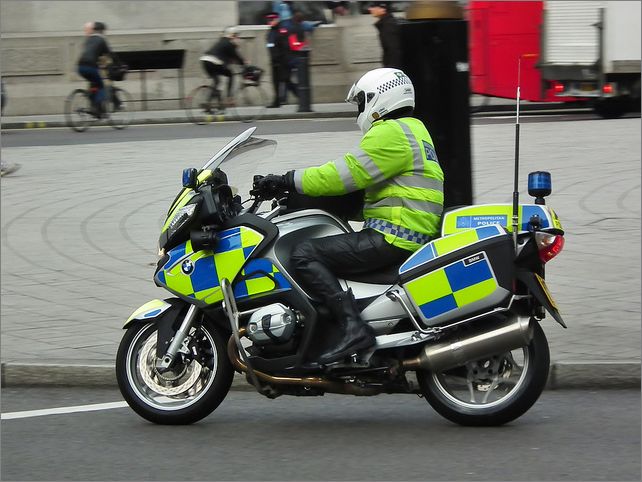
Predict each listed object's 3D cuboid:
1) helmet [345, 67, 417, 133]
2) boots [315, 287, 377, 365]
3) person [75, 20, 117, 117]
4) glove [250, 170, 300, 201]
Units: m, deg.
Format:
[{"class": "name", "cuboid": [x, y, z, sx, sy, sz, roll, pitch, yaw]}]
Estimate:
[{"class": "helmet", "cuboid": [0.416, -1.000, 5.314, 0.605, 0.396, 0.452, 5, 10, 25]}, {"class": "boots", "cuboid": [0.160, 0.564, 4.906, 0.365, 0.464, 0.211, -2, 12, 4]}, {"class": "person", "cuboid": [-5.424, -4.134, 18.462, 0.857, 2.266, 0.909, -6, 12, -12]}, {"class": "glove", "cuboid": [-0.312, -0.369, 5.110, 0.299, 0.105, 0.201, -11, 2, -9]}]
